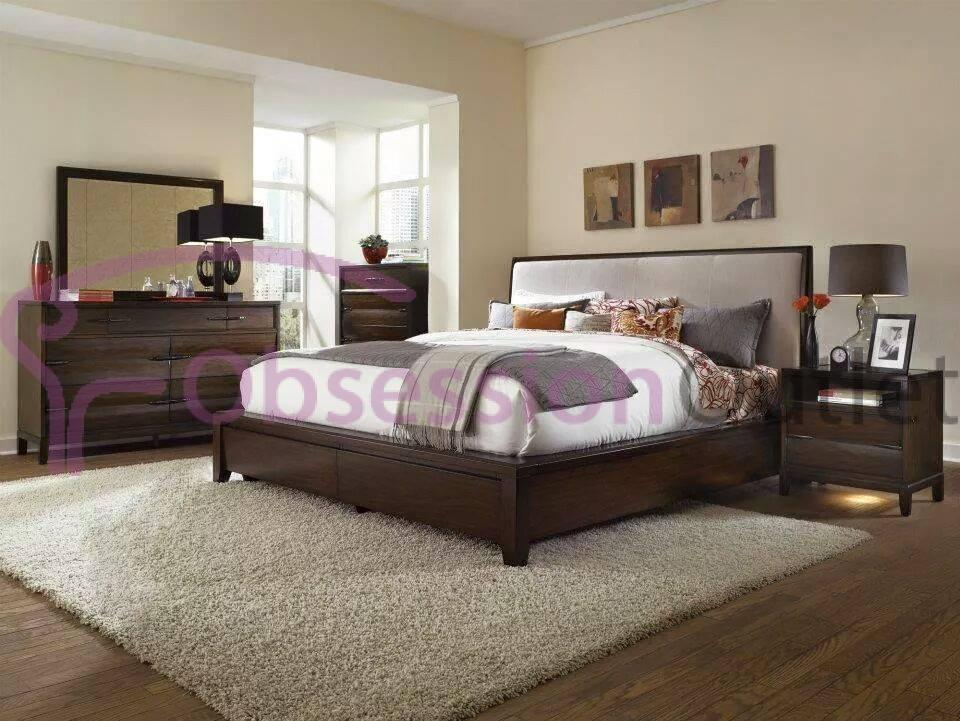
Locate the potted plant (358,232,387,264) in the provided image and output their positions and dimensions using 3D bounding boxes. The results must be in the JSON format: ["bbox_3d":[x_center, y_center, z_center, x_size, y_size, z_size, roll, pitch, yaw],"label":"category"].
[{"bbox_3d":[-1.031,-1.125,6.885,0.316,0.267,0.300,-1,4,-20],"label":"potted plant"}]

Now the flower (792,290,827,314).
[{"bbox_3d":[1.870,-0.330,3.941,0.202,0.114,0.192,-3,2,-21],"label":"flower"}]

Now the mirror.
[{"bbox_3d":[-2.615,-0.990,5.193,1.239,0.920,0.055,-2,3,-38],"label":"mirror"}]

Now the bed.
[{"bbox_3d":[0.551,0.323,3.754,2.403,1.200,2.206,-1,2,-41],"label":"bed"}]

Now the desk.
[{"bbox_3d":[-2.483,0.080,5.181,0.584,1.032,1.799,6,7,34],"label":"desk"}]

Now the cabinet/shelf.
[{"bbox_3d":[-0.890,-0.529,6.362,0.954,0.822,0.373,0,-1,42],"label":"cabinet/shelf"}]
